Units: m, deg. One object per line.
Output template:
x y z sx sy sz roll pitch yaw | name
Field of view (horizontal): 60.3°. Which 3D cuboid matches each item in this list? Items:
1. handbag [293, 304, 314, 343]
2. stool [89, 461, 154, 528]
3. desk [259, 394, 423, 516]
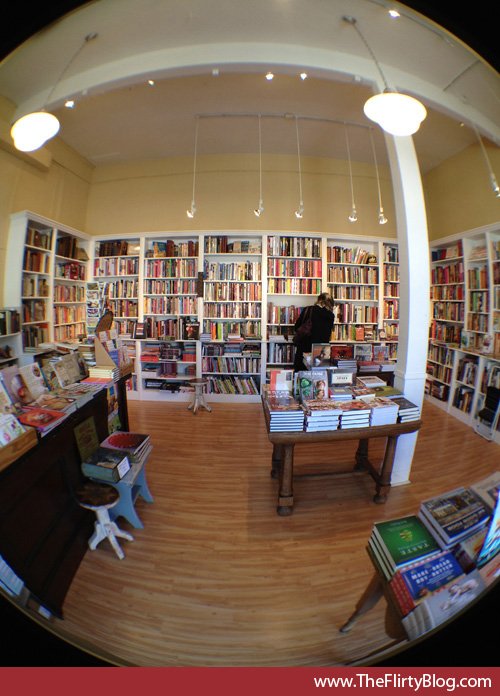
0.375 -0.177 3.137 0.110 0.271 0.249 -5 16 -22 | handbag
-0.504 0.623 1.905 0.234 0.267 0.291 1 15 12 | stool
0.419 0.625 2.276 1.012 0.590 0.518 -1 26 -5 | desk
